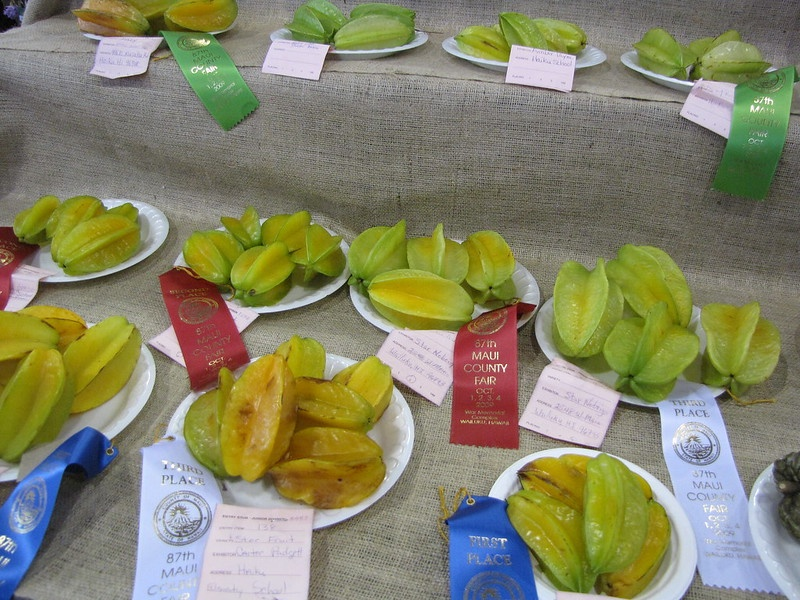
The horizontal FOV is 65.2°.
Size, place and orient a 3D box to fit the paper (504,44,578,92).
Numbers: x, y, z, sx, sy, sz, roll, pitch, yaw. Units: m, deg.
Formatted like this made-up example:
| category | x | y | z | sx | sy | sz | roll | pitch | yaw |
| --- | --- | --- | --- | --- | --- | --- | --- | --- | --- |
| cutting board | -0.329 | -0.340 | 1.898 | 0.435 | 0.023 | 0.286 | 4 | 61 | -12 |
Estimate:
| category | x | y | z | sx | sy | sz | roll | pitch | yaw |
| --- | --- | --- | --- | --- | --- | --- | --- | --- | --- |
| paper | 0.346 | -0.569 | 1.539 | 0.158 | 0.045 | 0.092 | 11 | 63 | 10 |

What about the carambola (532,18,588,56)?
| category | x | y | z | sx | sy | sz | roll | pitch | yaw |
| --- | --- | --- | --- | --- | --- | --- | --- | --- | --- |
| carambola | 0.402 | -0.680 | 1.634 | 0.082 | 0.066 | 0.158 | -34 | 54 | -31 |

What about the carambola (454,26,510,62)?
| category | x | y | z | sx | sy | sz | roll | pitch | yaw |
| --- | --- | --- | --- | --- | --- | --- | --- | --- | --- |
| carambola | 0.217 | -0.655 | 1.652 | 0.129 | 0.051 | 0.082 | 19 | 65 | 8 |

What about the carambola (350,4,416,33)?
| category | x | y | z | sx | sy | sz | roll | pitch | yaw |
| --- | --- | --- | --- | --- | --- | --- | --- | --- | --- |
| carambola | -0.045 | -0.810 | 1.745 | 0.152 | 0.063 | 0.093 | 8 | 30 | 8 |

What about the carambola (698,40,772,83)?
| category | x | y | z | sx | sy | sz | roll | pitch | yaw |
| --- | --- | --- | --- | --- | --- | --- | --- | --- | --- |
| carambola | 0.786 | -0.560 | 1.472 | 0.128 | 0.048 | 0.112 | 16 | 82 | 18 |

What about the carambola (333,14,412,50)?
| category | x | y | z | sx | sy | sz | roll | pitch | yaw |
| --- | --- | --- | --- | --- | --- | --- | --- | --- | --- |
| carambola | -0.075 | -0.709 | 1.716 | 0.182 | 0.072 | 0.104 | -6 | 77 | -1 |

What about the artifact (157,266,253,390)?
| category | x | y | z | sx | sy | sz | roll | pitch | yaw |
| --- | --- | --- | --- | --- | --- | --- | --- | --- | --- |
| artifact | -0.462 | 0.058 | 1.464 | 0.136 | 0.090 | 0.373 | -18 | 61 | -19 |

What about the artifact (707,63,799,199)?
| category | x | y | z | sx | sy | sz | roll | pitch | yaw |
| --- | --- | --- | --- | --- | --- | --- | --- | --- | --- |
| artifact | 0.807 | -0.374 | 1.417 | 0.168 | 0.071 | 0.319 | 15 | 102 | 30 |
